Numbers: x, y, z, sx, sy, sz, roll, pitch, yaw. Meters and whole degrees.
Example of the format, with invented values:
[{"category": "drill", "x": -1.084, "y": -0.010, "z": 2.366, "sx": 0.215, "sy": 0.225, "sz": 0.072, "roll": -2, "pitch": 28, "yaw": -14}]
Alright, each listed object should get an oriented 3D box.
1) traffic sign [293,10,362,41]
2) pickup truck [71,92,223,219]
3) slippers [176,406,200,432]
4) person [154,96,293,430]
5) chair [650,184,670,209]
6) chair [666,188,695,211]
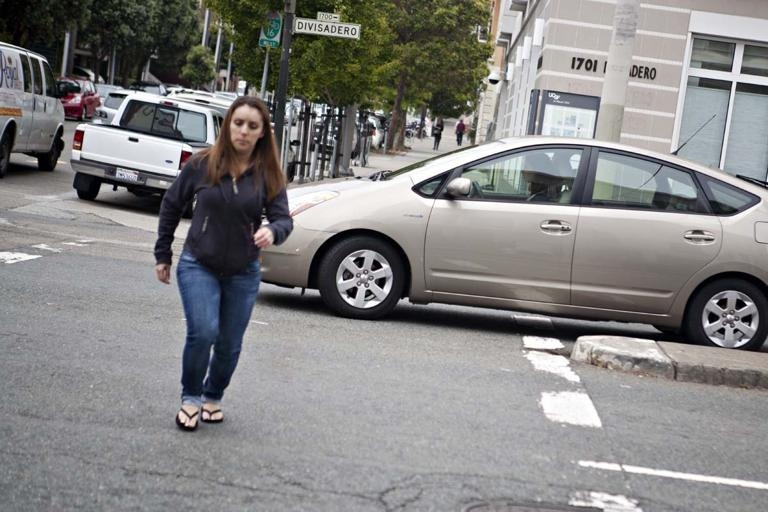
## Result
[{"category": "traffic sign", "x": -1.346, "y": -5.467, "z": 13.464, "sx": 1.564, "sy": 0.603, "sz": 0.515, "roll": 8, "pitch": 7, "yaw": 9}, {"category": "pickup truck", "x": -6.113, "y": -2.427, "z": 14.526, "sx": 2.358, "sy": 2.120, "sz": 4.762, "roll": 9, "pitch": 4, "yaw": -17}, {"category": "slippers", "x": -1.310, "y": 1.080, "z": 3.838, "sx": 0.176, "sy": 0.140, "sz": 0.071, "roll": 3, "pitch": 6, "yaw": 31}, {"category": "person", "x": -1.079, "y": 0.076, "z": 3.730, "sx": 0.876, "sy": 2.225, "sz": 0.409, "roll": 6, "pitch": 7, "yaw": -6}, {"category": "chair", "x": 3.443, "y": -0.728, "z": 7.053, "sx": 0.264, "sy": 0.250, "sz": 0.452, "roll": 7, "pitch": 4, "yaw": 12}, {"category": "chair", "x": 3.705, "y": -0.656, "z": 7.133, "sx": 0.366, "sy": 0.281, "sz": 0.218, "roll": 9, "pitch": -18, "yaw": -11}]
